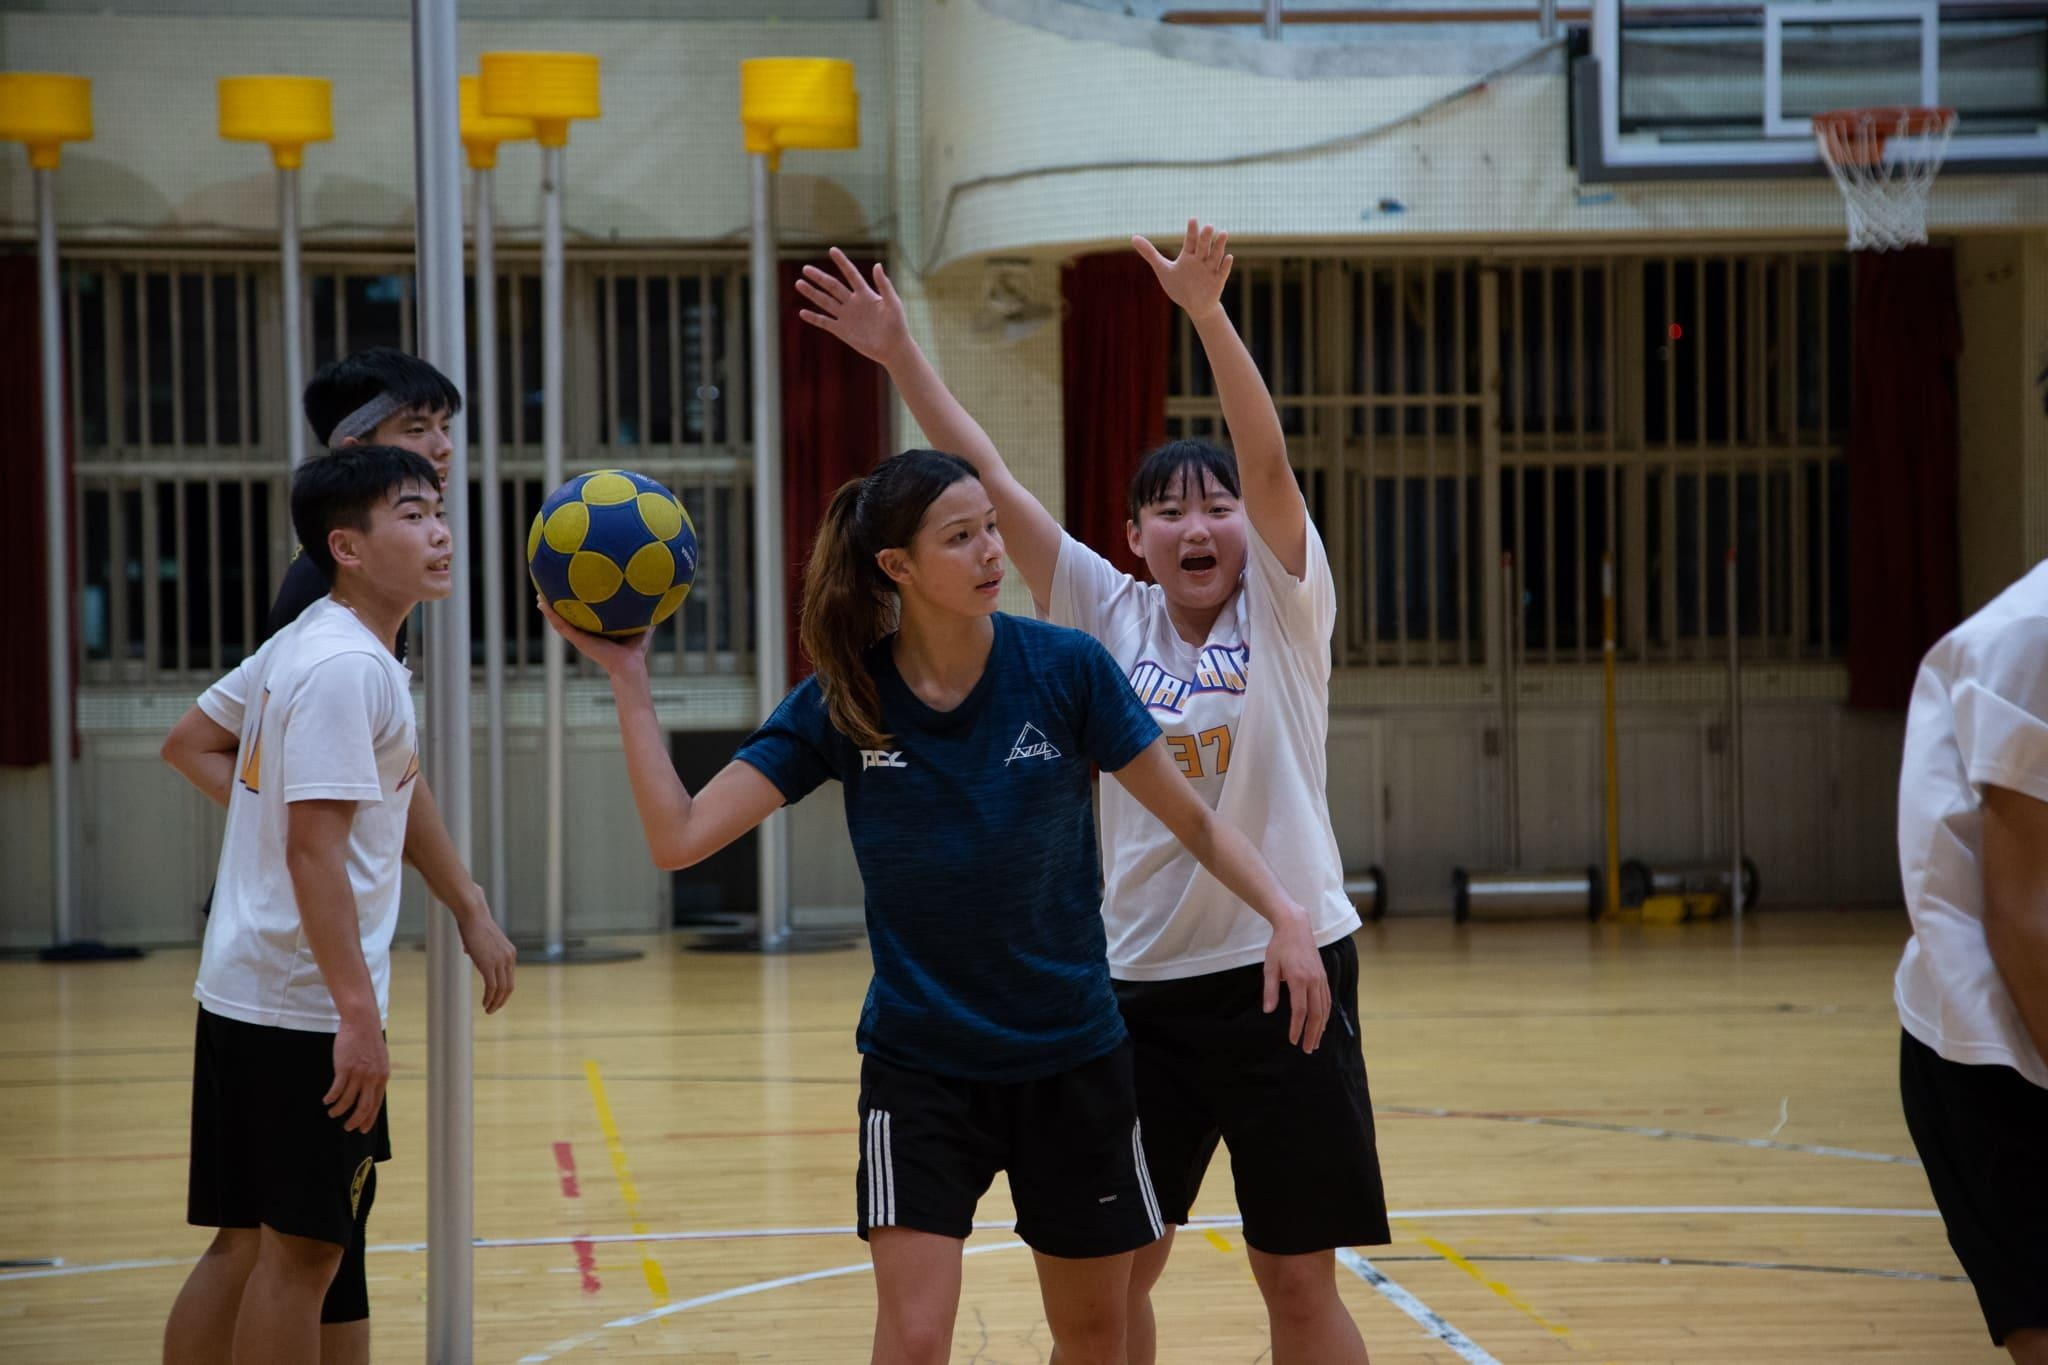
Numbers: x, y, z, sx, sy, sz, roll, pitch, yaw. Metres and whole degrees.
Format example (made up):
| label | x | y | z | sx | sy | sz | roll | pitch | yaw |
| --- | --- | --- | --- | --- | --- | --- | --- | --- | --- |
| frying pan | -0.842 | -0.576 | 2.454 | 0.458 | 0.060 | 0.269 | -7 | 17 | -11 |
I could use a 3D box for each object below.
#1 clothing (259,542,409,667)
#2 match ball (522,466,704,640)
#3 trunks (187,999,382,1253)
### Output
| label | x | y | z | sx | sy | sz | roll | pitch | yaw |
| --- | --- | --- | --- | --- | --- | --- | --- | --- | --- |
| clothing | -2.163 | -0.212 | 8.072 | 0.574 | 0.400 | 0.371 | -2 | -3 | -37 |
| match ball | -1.258 | -0.414 | 7.772 | 0.448 | 0.574 | 0.494 | 15 | 37 | 18 |
| trunks | -2.236 | 1.337 | 7.743 | 0.632 | 0.667 | 0.378 | 7 | 5 | 41 |
